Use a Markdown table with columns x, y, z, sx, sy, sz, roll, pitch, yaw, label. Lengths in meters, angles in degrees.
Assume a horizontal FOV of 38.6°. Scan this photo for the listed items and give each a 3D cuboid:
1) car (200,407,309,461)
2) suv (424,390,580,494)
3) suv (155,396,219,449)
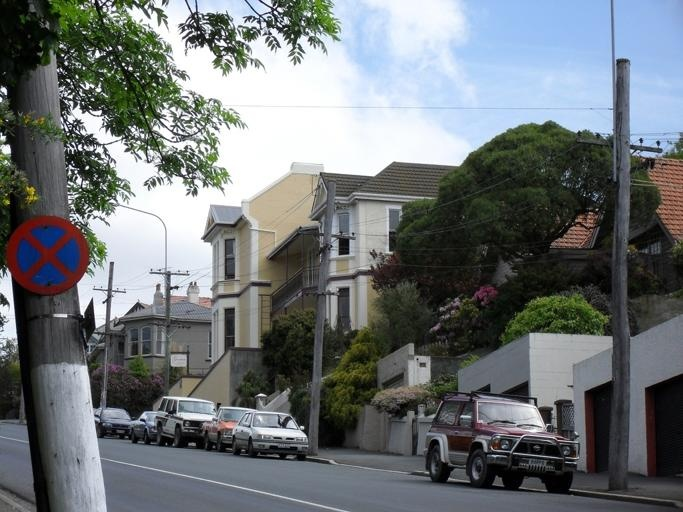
| x | y | z | sx | sy | sz | roll | pitch | yaw | label |
| --- | --- | --- | --- | --- | --- | --- | --- | --- | --- |
| -3.181 | 6.079 | 33.806 | 2.366 | 1.718 | 7.156 | 6 | -11 | -25 | car |
| 3.580 | 4.310 | 22.875 | 2.045 | 2.250 | 3.604 | 6 | -11 | -29 | suv |
| -6.002 | 6.381 | 37.418 | 1.453 | 1.480 | 2.722 | 4 | -14 | -24 | suv |
